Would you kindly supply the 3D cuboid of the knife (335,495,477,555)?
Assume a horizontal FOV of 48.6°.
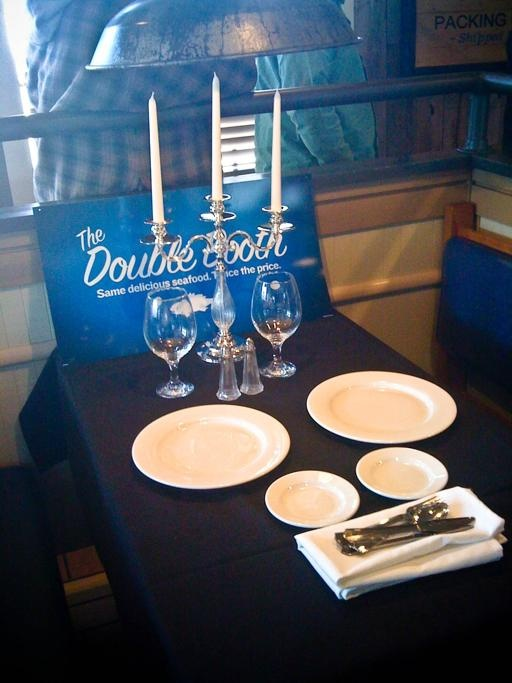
[{"bbox_3d":[0.151,0.189,0.620,0.104,0.014,0.059,-11,8,-12],"label":"knife"}]
